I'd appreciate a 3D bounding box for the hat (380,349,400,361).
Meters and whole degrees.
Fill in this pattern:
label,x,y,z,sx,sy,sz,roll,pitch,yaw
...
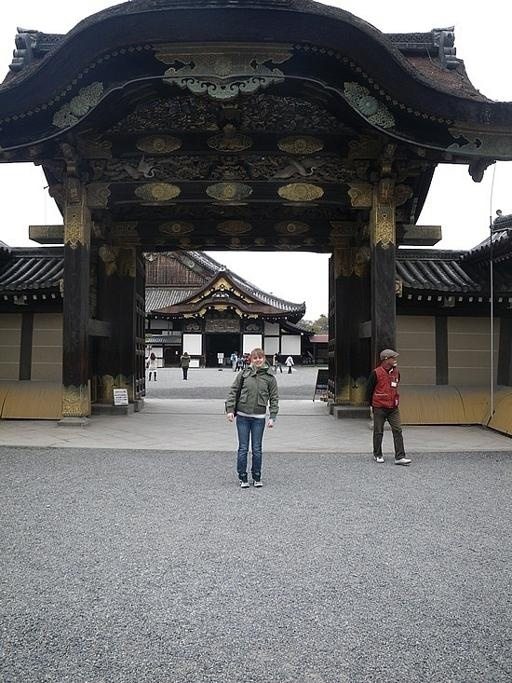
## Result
label,x,y,z,sx,sy,sz,roll,pitch,yaw
hat,1.595,0.151,7.168,0.263,0.160,0.198,-7,5,17

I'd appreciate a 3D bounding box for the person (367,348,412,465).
label,x,y,z,sx,sy,sz,roll,pitch,yaw
person,1.623,0.725,7.490,0.489,1.255,1.670,0,0,11

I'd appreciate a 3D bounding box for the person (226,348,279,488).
label,x,y,z,sx,sy,sz,roll,pitch,yaw
person,-0.042,0.708,5.775,0.488,1.279,0.559,0,-1,-5
